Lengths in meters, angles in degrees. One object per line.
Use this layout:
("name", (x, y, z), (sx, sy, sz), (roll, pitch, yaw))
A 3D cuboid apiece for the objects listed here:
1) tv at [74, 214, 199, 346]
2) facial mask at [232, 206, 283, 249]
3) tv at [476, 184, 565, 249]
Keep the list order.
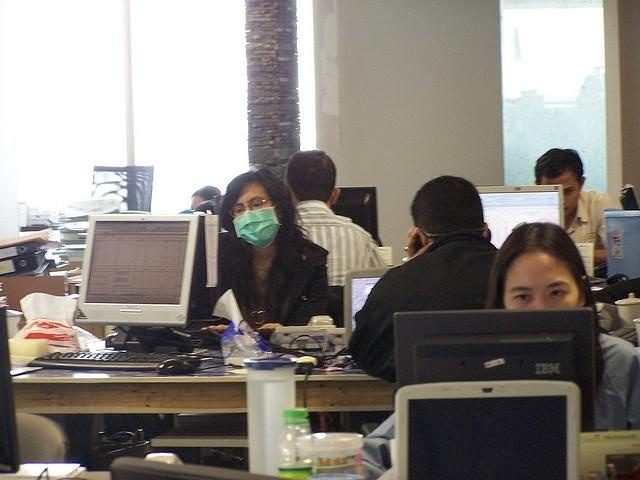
("tv", (-0.793, 0.171, 2.905), (0.852, 0.587, 0.075), (3, -16, 9))
("facial mask", (-0.304, -0.064, 3.300), (0.246, 0.153, 0.210), (-6, -6, 2))
("tv", (0.927, -0.120, 3.096), (0.499, 0.253, 0.034), (-1, -1, -4))
